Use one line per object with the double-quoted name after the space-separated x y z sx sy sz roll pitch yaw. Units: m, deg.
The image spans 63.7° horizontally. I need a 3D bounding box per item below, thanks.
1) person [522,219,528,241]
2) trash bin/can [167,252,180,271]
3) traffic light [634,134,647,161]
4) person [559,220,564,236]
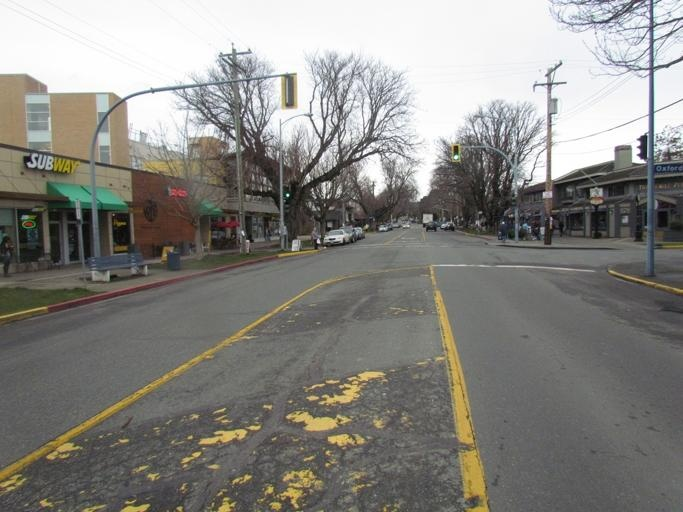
14.920 -1.944 44.978 0.452 1.167 2.033 2 14 17 "person"
-7.193 0.243 23.878 0.485 1.062 0.534 5 15 10 "trash bin/can"
9.227 -3.361 16.990 0.300 0.813 0.943 5 14 28 "traffic light"
20.108 -2.531 50.567 0.392 1.225 2.120 3 14 21 "person"
